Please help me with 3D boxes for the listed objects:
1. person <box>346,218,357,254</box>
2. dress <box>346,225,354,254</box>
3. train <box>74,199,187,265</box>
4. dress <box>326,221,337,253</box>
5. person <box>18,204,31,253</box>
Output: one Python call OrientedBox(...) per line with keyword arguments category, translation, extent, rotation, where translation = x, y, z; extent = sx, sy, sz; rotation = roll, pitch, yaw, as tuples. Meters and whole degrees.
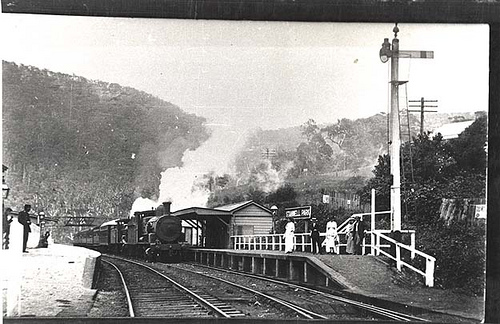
OrientedBox(category="person", translation=(2.373, 1.740, 15.471), extent=(0.225, 0.838, 0.105), rotation=(1, -3, 7))
OrientedBox(category="dress", translation=(2.346, 1.815, 15.475), extent=(0.167, 0.663, 0.101), rotation=(1, -3, 9))
OrientedBox(category="train", translation=(-2.891, 1.842, 16.083), extent=(0.913, 1.574, 6.007), rotation=(1, -7, -21))
OrientedBox(category="dress", translation=(1.917, 1.758, 15.488), extent=(0.259, 0.732, 0.142), rotation=(1, -3, 7))
OrientedBox(category="person", translation=(-5.239, 1.536, 15.147), extent=(0.306, 1.099, 0.109), rotation=(0, -3, 20))
